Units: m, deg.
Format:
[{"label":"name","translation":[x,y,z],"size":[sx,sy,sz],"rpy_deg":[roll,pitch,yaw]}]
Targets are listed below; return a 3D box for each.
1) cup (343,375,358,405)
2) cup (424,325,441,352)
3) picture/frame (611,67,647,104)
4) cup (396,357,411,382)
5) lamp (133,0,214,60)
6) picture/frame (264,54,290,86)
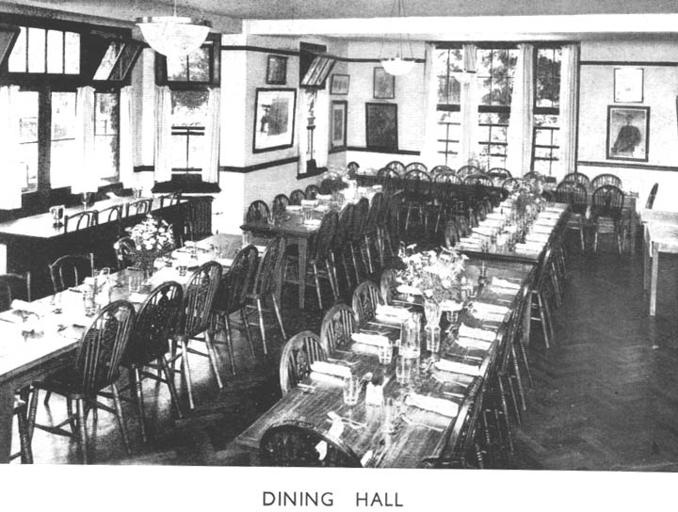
[{"label":"cup","translation":[0.083,0.888,3.830],"size":[0.104,0.209,0.213],"rpy_deg":[1,10,1]},{"label":"cup","translation":[0.752,0.681,4.681],"size":[0.163,0.268,0.170],"rpy_deg":[0,9,0]},{"label":"picture/frame","translation":[6.192,-3.659,12.054],"size":[0.758,1.070,0.106],"rpy_deg":[2,5,29]},{"label":"cup","translation":[0.474,0.844,4.164],"size":[0.134,0.209,0.133],"rpy_deg":[2,14,0]},{"label":"lamp","translation":[-1.387,-1.856,4.729],"size":[0.514,0.313,0.384],"rpy_deg":[5,11,20]},{"label":"picture/frame","translation":[-1.159,-3.395,10.284],"size":[0.075,0.583,0.646],"rpy_deg":[6,9,26]}]
